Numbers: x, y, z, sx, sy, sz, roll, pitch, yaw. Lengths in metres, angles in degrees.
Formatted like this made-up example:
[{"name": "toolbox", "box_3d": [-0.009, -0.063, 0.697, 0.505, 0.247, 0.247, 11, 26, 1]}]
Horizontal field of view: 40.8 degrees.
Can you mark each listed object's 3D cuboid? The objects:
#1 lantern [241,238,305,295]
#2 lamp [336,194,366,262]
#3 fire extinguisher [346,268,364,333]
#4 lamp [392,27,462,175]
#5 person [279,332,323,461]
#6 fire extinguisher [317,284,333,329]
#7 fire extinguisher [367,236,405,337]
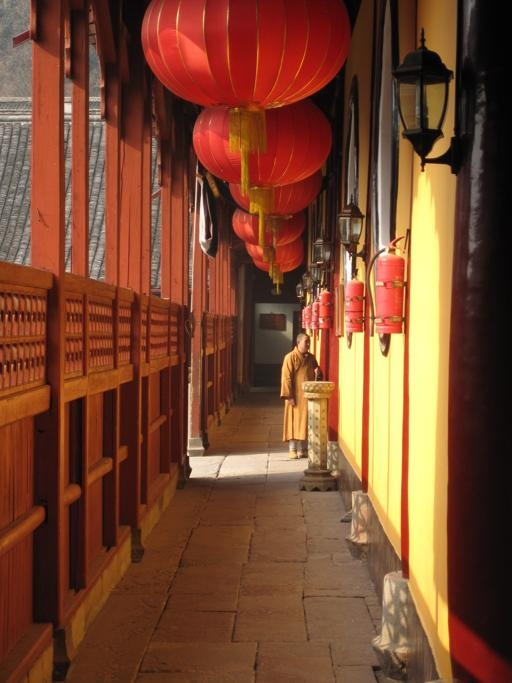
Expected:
[{"name": "lantern", "box_3d": [0.318, -1.295, 10.782, 0.660, 1.662, 1.072, 1, 1, 3]}, {"name": "lamp", "box_3d": [0.619, -0.723, 4.511, 0.164, 0.348, 0.180, 0, 0, -16]}, {"name": "fire extinguisher", "box_3d": [0.611, -0.222, 4.277, 0.114, 0.305, 0.207, 0, 0, 11]}, {"name": "lamp", "box_3d": [0.458, -0.656, 1.883, 0.166, 0.459, 0.295, 0, 0, 12]}, {"name": "person", "box_3d": [0.523, 0.656, 8.458, 0.420, 1.508, 0.411, 0, 0, 7]}, {"name": "fire extinguisher", "box_3d": [0.742, -0.342, 7.384, 0.140, 0.386, 0.272, 0, 0, 9]}, {"name": "fire extinguisher", "box_3d": [0.617, -0.252, 3.264, 0.148, 0.435, 0.983, 0, 0, 10]}]
